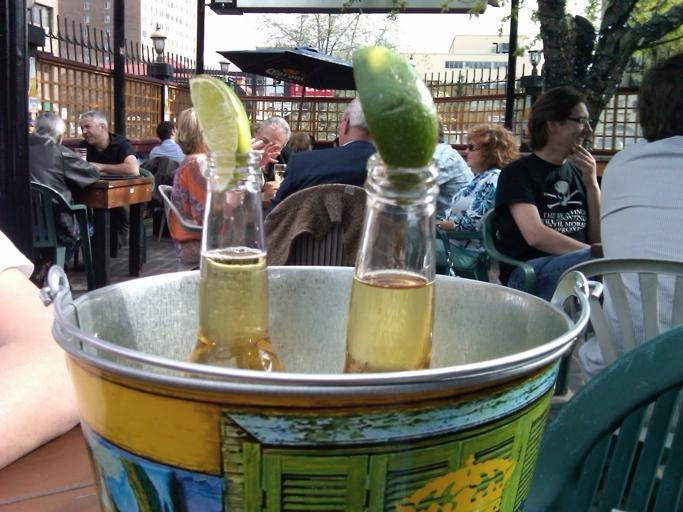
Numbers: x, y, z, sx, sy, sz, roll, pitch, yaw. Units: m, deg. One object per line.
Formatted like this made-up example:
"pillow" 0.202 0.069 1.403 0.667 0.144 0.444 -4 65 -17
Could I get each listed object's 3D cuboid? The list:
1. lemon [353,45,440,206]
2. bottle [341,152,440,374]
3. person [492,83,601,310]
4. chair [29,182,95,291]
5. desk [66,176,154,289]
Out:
"lemon" 0.047 -0.138 0.564 0.081 0.109 0.036 4 4 -1
"bottle" 0.047 0.015 0.613 0.067 0.231 0.076 6 14 6
"person" 1.167 -0.359 3.352 0.519 1.417 0.585 -1 4 -21
"chair" -1.950 -0.207 4.318 0.415 0.825 0.473 2 8 -1
"desk" -1.947 -0.236 5.125 0.646 1.039 1.160 -2 7 -35
